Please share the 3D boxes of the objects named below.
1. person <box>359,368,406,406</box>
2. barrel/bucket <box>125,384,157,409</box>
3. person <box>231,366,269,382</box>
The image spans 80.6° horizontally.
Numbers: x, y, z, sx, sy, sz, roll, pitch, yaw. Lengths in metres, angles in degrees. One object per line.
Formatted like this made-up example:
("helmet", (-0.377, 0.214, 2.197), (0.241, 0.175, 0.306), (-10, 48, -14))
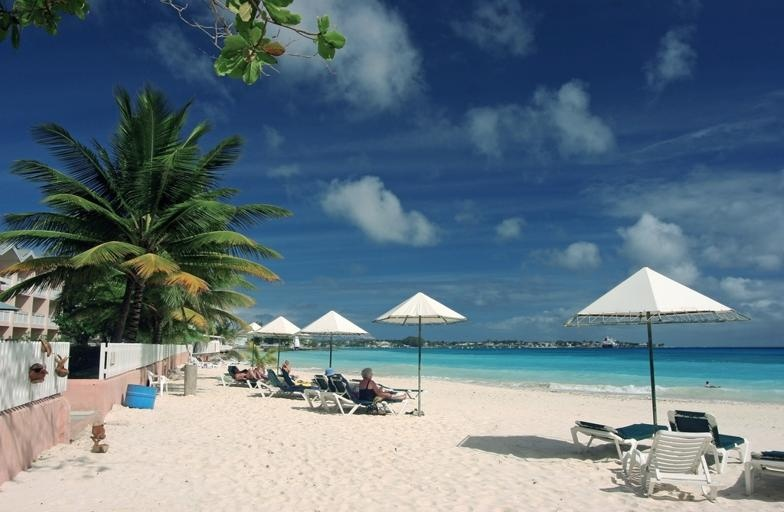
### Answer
("person", (-0.379, 3.929, 13.997), (0.775, 0.878, 1.586), (-7, -18, 42))
("barrel/bucket", (-6.847, 3.856, 12.859), (0.751, 0.473, 0.701), (5, -4, 0))
("person", (-6.127, 5.053, 19.688), (1.662, 0.461, 1.095), (-2, -15, 4))
